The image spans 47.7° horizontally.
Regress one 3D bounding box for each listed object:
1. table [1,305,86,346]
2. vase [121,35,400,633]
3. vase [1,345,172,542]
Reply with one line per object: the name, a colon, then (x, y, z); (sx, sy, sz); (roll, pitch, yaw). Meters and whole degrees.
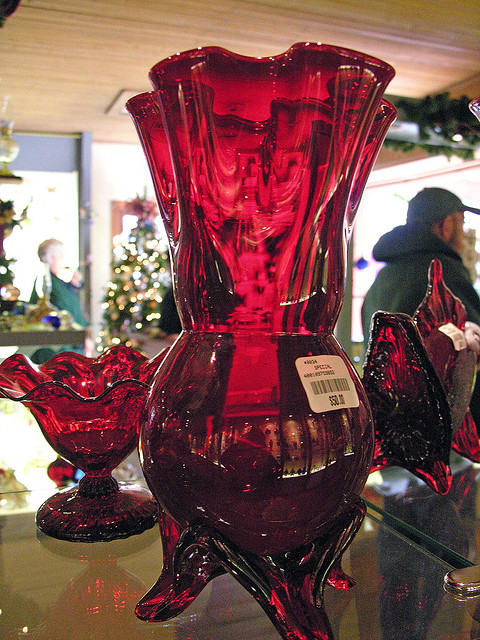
table: (-0.916, 0.067, 2.465); (0.356, 0.092, 0.343); (-3, 3, -31)
vase: (0.007, 0.018, 0.351); (0.185, 0.354, 0.141); (-1, 3, 15)
vase: (-0.120, 0.108, 0.543); (0.203, 0.146, 0.210); (-3, 7, -24)
